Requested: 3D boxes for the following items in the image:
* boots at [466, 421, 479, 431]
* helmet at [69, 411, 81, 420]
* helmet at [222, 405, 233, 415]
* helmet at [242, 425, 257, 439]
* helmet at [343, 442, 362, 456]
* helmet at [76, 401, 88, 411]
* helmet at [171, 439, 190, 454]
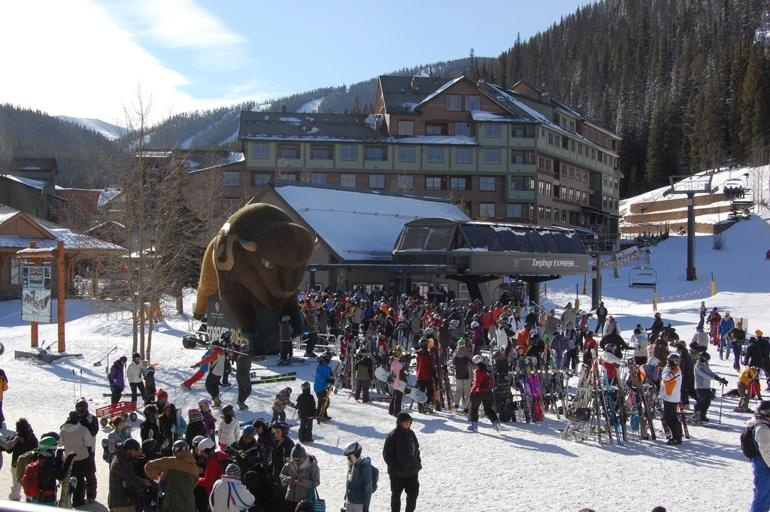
[{"bbox_3d":[3.841,7.461,38.989,0.434,0.444,0.543,1,-5,5],"label":"boots"},{"bbox_3d":[-12.162,6.147,34.394,0.401,0.352,0.424,3,-5,-15],"label":"helmet"},{"bbox_3d":[-6.285,6.070,35.204,0.278,0.361,0.374,2,16,26],"label":"helmet"},{"bbox_3d":[-5.169,6.578,33.336,0.353,0.416,0.428,3,-5,-17],"label":"helmet"},{"bbox_3d":[-1.222,7.046,32.545,0.540,0.382,0.407,10,-13,-12],"label":"helmet"},{"bbox_3d":[-12.015,5.823,34.890,0.413,0.367,0.374,4,-6,-24],"label":"helmet"},{"bbox_3d":[-7.512,6.854,32.172,0.516,0.480,0.418,-14,8,-10],"label":"helmet"}]
